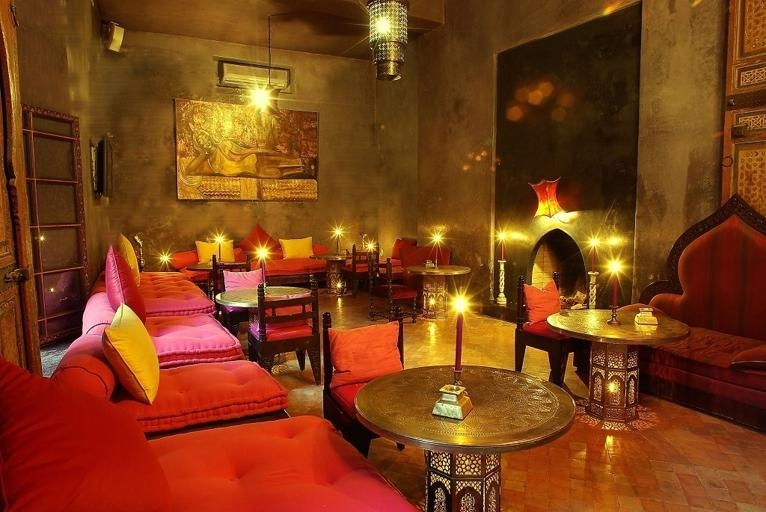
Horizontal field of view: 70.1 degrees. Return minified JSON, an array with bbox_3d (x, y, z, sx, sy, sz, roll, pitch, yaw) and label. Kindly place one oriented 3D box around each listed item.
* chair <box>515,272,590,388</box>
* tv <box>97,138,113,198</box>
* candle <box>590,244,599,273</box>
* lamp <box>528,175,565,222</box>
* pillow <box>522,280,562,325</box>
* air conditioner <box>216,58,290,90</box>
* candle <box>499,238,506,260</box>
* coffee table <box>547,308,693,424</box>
[{"bbox_3d":[1.822,0.763,5.803,0.686,1.051,0.702,7,10,37],"label":"chair"},{"bbox_3d":[-4.423,-1.488,8.740,0.221,1.034,1.289,-2,5,-25],"label":"tv"},{"bbox_3d":[2.608,0.037,6.764,0.080,0.322,0.288,3,5,26],"label":"candle"},{"bbox_3d":[2.213,-0.789,7.300,0.238,0.539,0.395,-2,5,-25],"label":"lamp"},{"bbox_3d":[1.719,0.498,5.926,0.495,0.469,0.197,-6,-5,-29],"label":"pillow"},{"bbox_3d":[-2.374,-3.406,10.311,1.488,0.549,0.214,-4,19,-29],"label":"air conditioner"},{"bbox_3d":[1.811,-0.093,8.253,0.014,0.305,0.109,-3,6,-35],"label":"candle"},{"bbox_3d":[2.208,0.921,5.347,1.055,0.801,1.068,0,8,2],"label":"coffee table"}]
